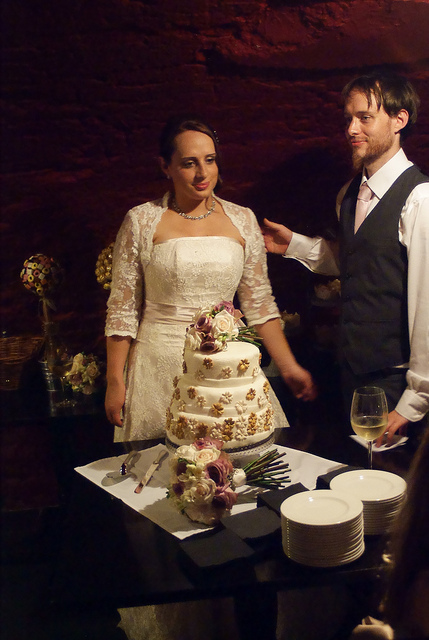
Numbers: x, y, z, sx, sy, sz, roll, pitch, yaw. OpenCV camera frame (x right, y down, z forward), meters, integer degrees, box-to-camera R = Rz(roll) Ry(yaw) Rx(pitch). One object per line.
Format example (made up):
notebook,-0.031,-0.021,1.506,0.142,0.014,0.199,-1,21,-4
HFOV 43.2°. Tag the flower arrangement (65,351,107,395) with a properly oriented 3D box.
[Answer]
flower arrangement,-0.638,0.266,2.677,0.200,0.198,0.138,-9,12,-11

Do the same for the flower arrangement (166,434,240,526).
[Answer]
flower arrangement,-0.038,0.376,1.257,0.160,0.166,0.143,-9,12,-8

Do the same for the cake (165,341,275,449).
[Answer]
cake,-0.006,0.189,1.501,0.331,0.208,0.315,2,8,-43

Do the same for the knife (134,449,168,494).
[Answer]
knife,-0.172,0.402,1.447,0.026,0.035,0.196,-3,11,20

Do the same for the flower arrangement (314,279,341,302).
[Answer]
flower arrangement,0.580,-0.148,2.743,0.178,0.103,0.098,4,16,42

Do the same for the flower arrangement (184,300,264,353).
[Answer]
flower arrangement,0.034,0.019,1.476,0.196,0.098,0.155,3,19,-18

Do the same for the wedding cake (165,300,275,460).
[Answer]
wedding cake,0.015,0.148,1.534,0.397,0.442,0.403,-1,2,-37

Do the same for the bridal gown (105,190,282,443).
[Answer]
bridal gown,-0.064,0.000,2.266,0.773,1.210,0.363,1,11,-9

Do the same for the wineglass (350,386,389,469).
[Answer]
wineglass,0.379,0.292,1.324,0.091,0.226,0.090,2,9,35
